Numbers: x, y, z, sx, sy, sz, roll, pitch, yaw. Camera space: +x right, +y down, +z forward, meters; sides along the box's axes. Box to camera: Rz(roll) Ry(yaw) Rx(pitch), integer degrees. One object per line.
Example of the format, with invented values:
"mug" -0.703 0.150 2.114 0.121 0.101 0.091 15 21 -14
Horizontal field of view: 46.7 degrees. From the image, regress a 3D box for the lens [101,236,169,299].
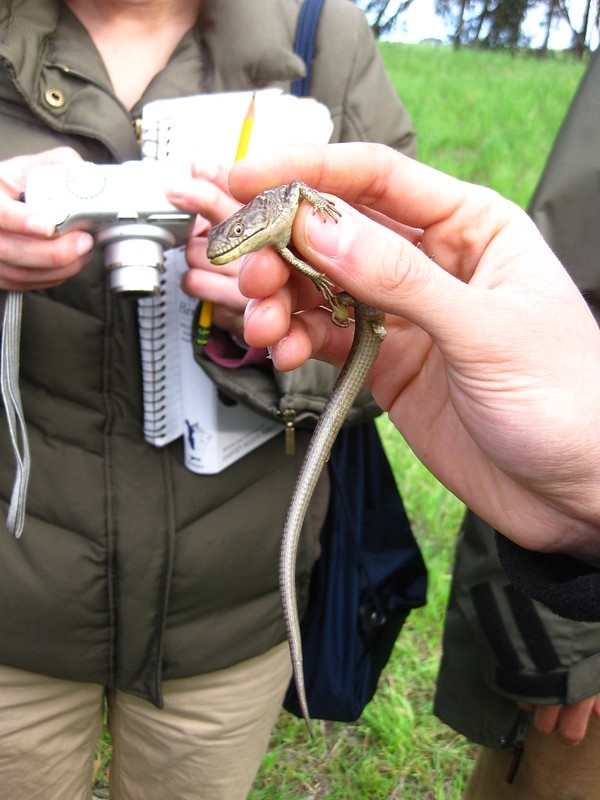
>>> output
"lens" -0.412 -0.326 1.755 0.137 0.123 0.136 -1 -1 -35
